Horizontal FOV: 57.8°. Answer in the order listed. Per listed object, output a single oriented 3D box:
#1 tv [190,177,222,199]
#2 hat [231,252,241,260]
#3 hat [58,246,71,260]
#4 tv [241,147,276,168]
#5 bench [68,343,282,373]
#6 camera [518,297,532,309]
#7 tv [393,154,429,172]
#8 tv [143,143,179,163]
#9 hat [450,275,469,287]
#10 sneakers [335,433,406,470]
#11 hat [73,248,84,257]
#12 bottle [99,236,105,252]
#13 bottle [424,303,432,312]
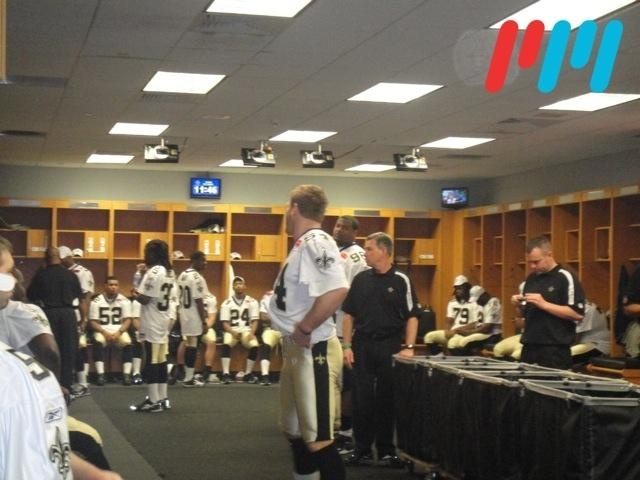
[{"bbox_3d":[-2.179,-0.989,10.919,0.511,0.306,0.065,0,3,-8],"label":"tv"},{"bbox_3d":[-1.545,0.288,10.681,0.121,0.069,0.160,5,3,21],"label":"hat"},{"bbox_3d":[-3.670,0.178,8.318,0.194,0.170,0.136,-14,19,-29],"label":"hat"},{"bbox_3d":[-0.862,-1.186,8.169,0.433,0.294,0.288,0,-5,3],"label":"tv"},{"bbox_3d":[-2.110,1.909,9.160,2.957,0.440,0.328,0,-5,-8],"label":"bench"},{"bbox_3d":[1.575,0.481,4.460,0.099,0.119,0.035,-6,14,-41],"label":"camera"},{"bbox_3d":[1.298,-1.156,8.582,0.477,0.280,0.404,0,-5,-3],"label":"tv"},{"bbox_3d":[-2.181,-1.209,8.035,0.548,0.240,0.312,-2,4,-3],"label":"tv"},{"bbox_3d":[2.365,0.655,9.745,0.218,0.135,0.302,-15,-4,38],"label":"hat"},{"bbox_3d":[0.375,1.719,4.721,0.601,0.222,0.185,-1,-4,-3],"label":"sneakers"},{"bbox_3d":[-4.250,0.207,10.186,0.182,0.178,0.346,2,-5,-23],"label":"hat"},{"bbox_3d":[-3.804,0.058,10.163,0.123,0.275,0.026,3,-7,-26],"label":"bottle"},{"bbox_3d":[2.100,1.310,11.379,0.180,0.187,0.210,1,-21,10],"label":"bottle"}]
